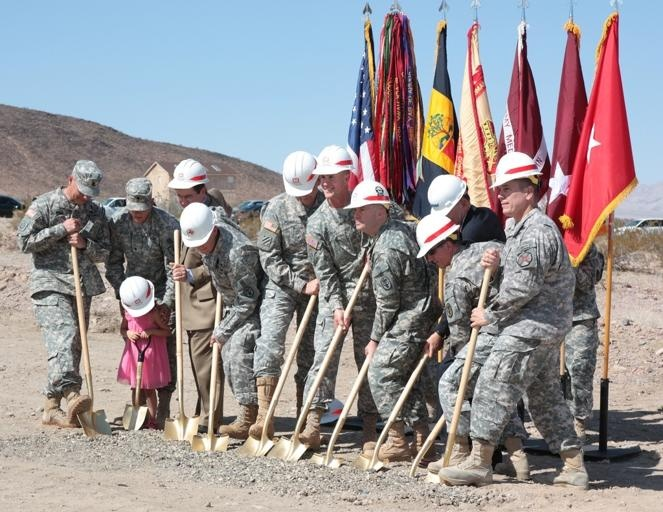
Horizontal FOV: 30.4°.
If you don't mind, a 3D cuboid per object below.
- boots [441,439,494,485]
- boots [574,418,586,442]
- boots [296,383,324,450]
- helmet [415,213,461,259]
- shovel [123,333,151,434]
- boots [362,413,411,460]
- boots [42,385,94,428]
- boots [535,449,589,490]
[{"bbox_3d":[1.327,2.141,12.877,0.634,0.704,0.317,4,1,-1],"label":"boots"},{"bbox_3d":[2.829,1.987,14.077,0.118,0.406,0.156,-6,-9,19],"label":"boots"},{"bbox_3d":[-0.249,1.823,13.778,0.251,0.630,0.303,7,4,-42],"label":"boots"},{"bbox_3d":[1.112,-0.261,12.882,0.345,0.485,0.362,-10,13,-41],"label":"helmet"},{"bbox_3d":[-2.282,1.520,14.415,0.334,1.120,0.109,2,-7,28],"label":"shovel"},{"bbox_3d":[0.521,2.013,13.505,0.623,0.702,0.326,8,7,-1],"label":"boots"},{"bbox_3d":[-3.070,1.787,14.171,0.518,0.496,0.680,14,9,-37],"label":"boots"},{"bbox_3d":[2.397,2.200,12.741,0.473,0.532,0.241,3,5,30],"label":"boots"}]
